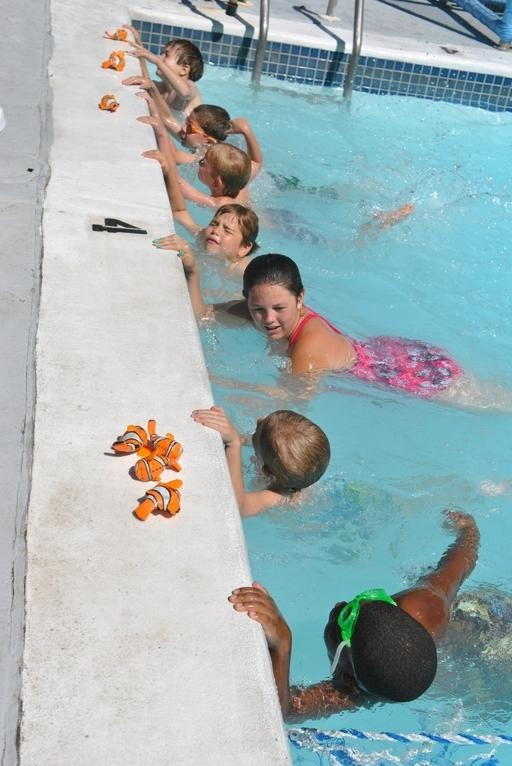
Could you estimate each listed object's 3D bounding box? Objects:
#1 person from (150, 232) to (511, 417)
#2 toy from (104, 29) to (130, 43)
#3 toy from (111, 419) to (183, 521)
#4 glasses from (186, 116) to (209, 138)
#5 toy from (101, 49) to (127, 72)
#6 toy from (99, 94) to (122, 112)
[{"bbox_3d":[0.386,-0.332,3.408,1.967,0.595,0.577,7,31,-20],"label":"person"},{"bbox_3d":[-1.041,-2.586,5.337,0.192,0.063,0.156,-9,57,-16],"label":"toy"},{"bbox_3d":[-0.257,0.217,1.704,0.166,0.079,0.218,-2,47,-40],"label":"toy"},{"bbox_3d":[-0.453,-1.851,5.205,0.166,0.047,0.153,22,19,-36],"label":"glasses"},{"bbox_3d":[-0.947,-2.127,4.723,0.147,0.105,0.263,10,29,-16],"label":"toy"},{"bbox_3d":[-0.829,-1.562,3.999,0.109,0.081,0.126,9,29,-17],"label":"toy"}]
